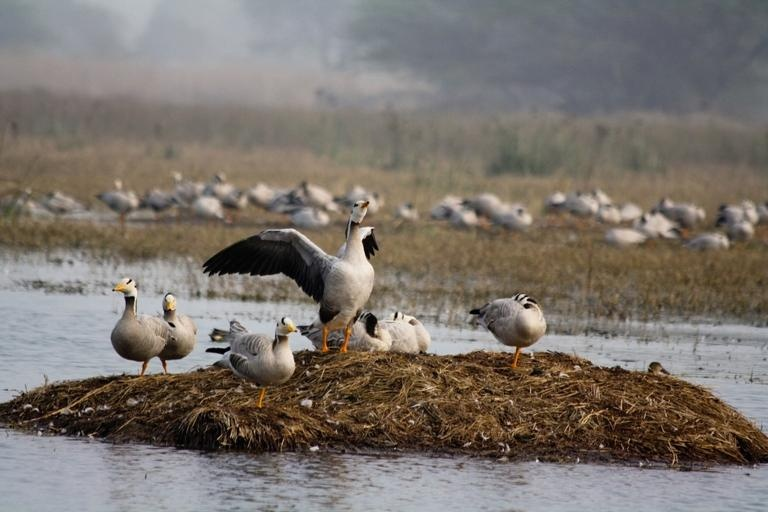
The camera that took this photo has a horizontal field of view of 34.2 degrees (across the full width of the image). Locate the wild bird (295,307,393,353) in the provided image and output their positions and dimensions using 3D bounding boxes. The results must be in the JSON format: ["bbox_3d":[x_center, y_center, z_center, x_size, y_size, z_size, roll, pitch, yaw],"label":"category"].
[{"bbox_3d":[-0.796,1.503,25.263,1.587,0.931,0.857,9,14,28],"label":"wild bird"}]

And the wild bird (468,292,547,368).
[{"bbox_3d":[2.552,1.491,25.018,0.685,1.442,1.303,6,-3,-34],"label":"wild bird"}]

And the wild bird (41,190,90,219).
[{"bbox_3d":[-10.304,-1.663,40.149,1.427,0.577,0.523,2,-3,20],"label":"wild bird"}]

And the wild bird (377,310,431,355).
[{"bbox_3d":[0.508,1.608,25.819,1.117,0.645,0.712,-2,3,-30],"label":"wild bird"}]
